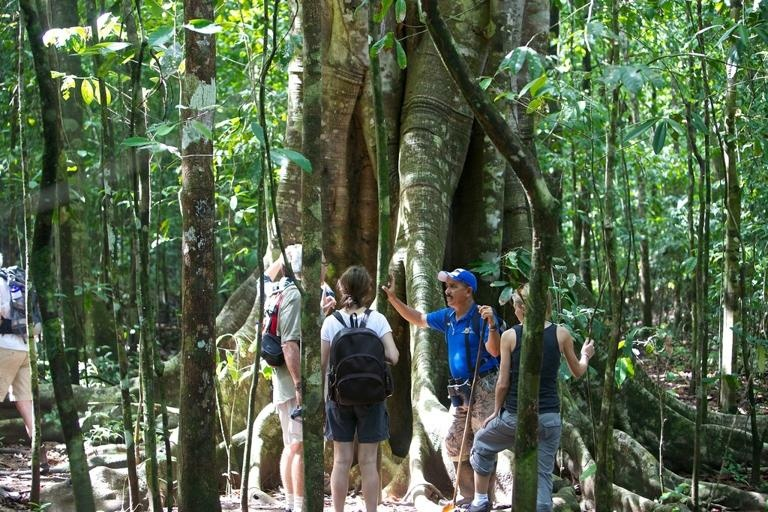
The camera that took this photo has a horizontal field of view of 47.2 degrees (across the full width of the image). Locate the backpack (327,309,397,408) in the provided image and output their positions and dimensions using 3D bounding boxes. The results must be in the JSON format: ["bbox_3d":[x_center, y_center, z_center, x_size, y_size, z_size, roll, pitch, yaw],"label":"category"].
[{"bbox_3d":[-0.231,0.910,7.721,0.503,0.838,0.412,-3,0,-8],"label":"backpack"}]

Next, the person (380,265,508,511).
[{"bbox_3d":[0.576,1.294,8.319,1.490,2.554,0.777,-17,-21,42],"label":"person"}]

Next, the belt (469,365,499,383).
[{"bbox_3d":[0.895,1.067,7.831,0.163,0.101,0.229,-17,-4,32],"label":"belt"}]

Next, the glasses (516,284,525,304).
[{"bbox_3d":[1.189,0.321,7.463,0.064,0.136,0.095,-8,-2,-27],"label":"glasses"}]

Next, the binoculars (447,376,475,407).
[{"bbox_3d":[0.712,1.228,7.917,0.277,0.341,0.121,0,7,9],"label":"binoculars"}]

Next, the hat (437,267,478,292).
[{"bbox_3d":[0.668,0.201,7.895,0.284,0.165,0.196,22,-7,-9],"label":"hat"}]

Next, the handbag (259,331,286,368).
[{"bbox_3d":[-1.022,0.868,8.054,0.253,0.317,0.188,0,-9,7],"label":"handbag"}]

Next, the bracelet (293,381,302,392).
[{"bbox_3d":[-0.779,1.191,7.947,0.049,0.084,0.105,0,-10,4],"label":"bracelet"}]

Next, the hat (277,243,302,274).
[{"bbox_3d":[-0.838,0.055,8.141,0.224,0.364,0.143,4,-4,0],"label":"hat"}]
